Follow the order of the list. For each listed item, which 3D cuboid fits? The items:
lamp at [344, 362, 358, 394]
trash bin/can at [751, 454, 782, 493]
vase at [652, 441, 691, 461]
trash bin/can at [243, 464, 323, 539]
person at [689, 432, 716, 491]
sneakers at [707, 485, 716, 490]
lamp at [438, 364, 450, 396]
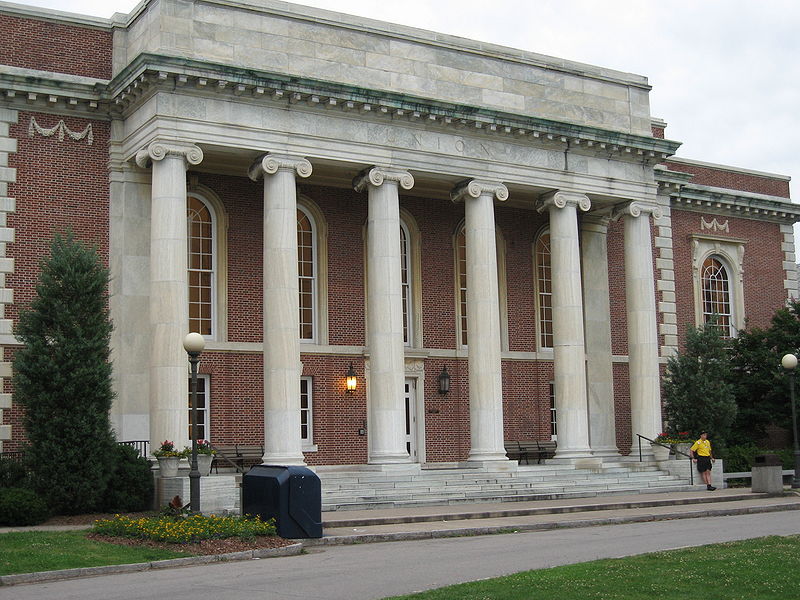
[{"bbox_3d":[-1.747,2.821,35.970,0.468,1.052,0.377,1,-10,-11],"label":"lamp"},{"bbox_3d":[11.654,5.606,32.508,0.931,1.186,0.878,-3,-10,15],"label":"trash bin/can"},{"bbox_3d":[9.542,5.382,35.936,1.252,0.632,0.682,-4,-11,18],"label":"vase"},{"bbox_3d":[-2.685,4.614,23.102,1.766,1.646,0.895,-7,-12,31],"label":"trash bin/can"},{"bbox_3d":[10.315,5.550,34.600,0.538,1.867,0.854,2,-10,-14],"label":"person"},{"bbox_3d":[10.401,6.355,34.097,0.257,0.150,0.685,-4,-10,16],"label":"sneakers"},{"bbox_3d":[1.598,3.012,37.395,0.454,1.105,0.397,2,-10,-14],"label":"lamp"}]
